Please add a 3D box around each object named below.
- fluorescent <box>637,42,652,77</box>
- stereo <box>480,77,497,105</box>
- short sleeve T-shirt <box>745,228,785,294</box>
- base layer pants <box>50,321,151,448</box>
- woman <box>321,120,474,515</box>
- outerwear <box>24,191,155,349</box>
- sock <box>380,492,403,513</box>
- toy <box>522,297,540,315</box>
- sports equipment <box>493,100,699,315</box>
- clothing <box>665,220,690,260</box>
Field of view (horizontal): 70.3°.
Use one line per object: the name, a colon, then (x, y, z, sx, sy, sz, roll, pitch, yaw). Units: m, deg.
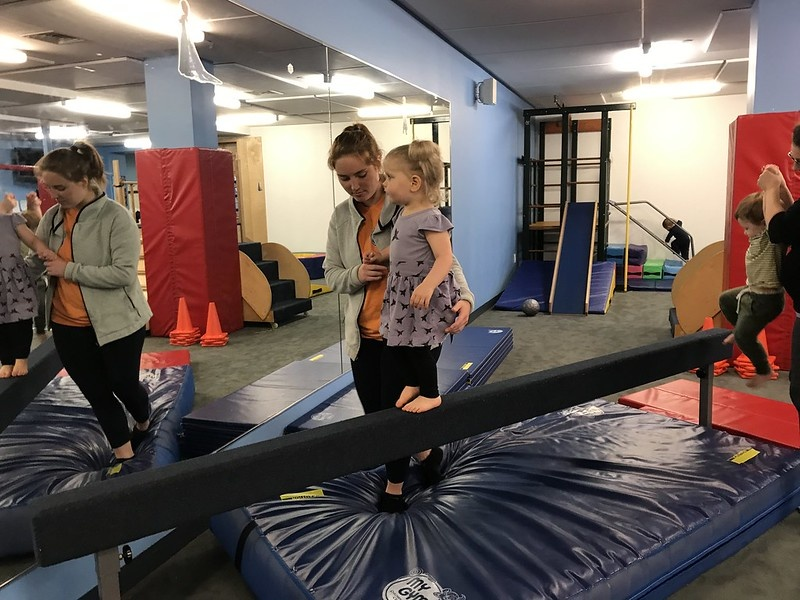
fluorescent: (3.039, -2.950, 6.990, 0.155, 0.241, 1.518, 6, 16, 23)
stereo: (1.088, -2.637, 7.121, 0.182, 0.281, 0.099, 1, 14, 4)
short sleeve T-shirt: (2.128, -0.264, 3.325, 0.167, 0.418, 0.323, 2, 9, 23)
base layer pants: (-1.469, 0.373, 2.825, 0.283, 0.792, 0.355, 9, 21, 38)
woman: (0.024, 0.131, 2.364, 0.682, 1.593, 0.448, 1, 7, 9)
outerwear: (-1.528, -0.175, 2.786, 0.537, 0.689, 0.458, 1, 15, 5)
sock: (-0.036, 0.867, 2.515, 0.109, 0.080, 0.142, 0, 19, -1)
toy: (1.723, 0.055, 7.548, 0.197, 0.246, 0.210, 19, 3, -14)
sports equipment: (2.923, -1.883, 9.924, 3.944, 3.942, 3.787, 1, 4, 14)
clothing: (4.733, -1.060, 9.734, 0.361, 0.765, 0.321, -11, 15, 22)
